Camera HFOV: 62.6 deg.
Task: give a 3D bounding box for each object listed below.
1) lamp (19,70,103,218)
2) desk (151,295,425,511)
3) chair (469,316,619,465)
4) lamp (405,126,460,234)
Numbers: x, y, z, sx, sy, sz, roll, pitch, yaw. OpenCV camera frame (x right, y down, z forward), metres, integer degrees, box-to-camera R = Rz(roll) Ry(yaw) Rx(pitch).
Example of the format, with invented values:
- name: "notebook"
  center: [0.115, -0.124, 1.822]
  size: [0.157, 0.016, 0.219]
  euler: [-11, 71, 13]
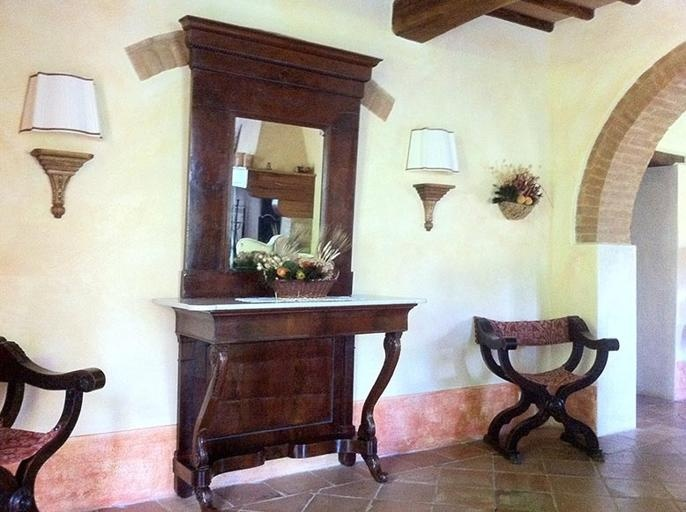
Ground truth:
- name: "lamp"
  center: [-1.770, -0.701, 3.566]
  size: [0.476, 0.921, 0.220]
  euler: [-2, 5, -29]
- name: "desk"
  center: [-0.465, 1.064, 4.018]
  size: [1.532, 1.082, 0.613]
  euler: [1, -2, -37]
- name: "chair"
  center: [1.733, 1.112, 4.957]
  size: [1.121, 1.116, 0.805]
  euler: [0, 4, -8]
- name: "lamp"
  center: [0.757, -0.631, 4.754]
  size: [0.480, 0.853, 0.370]
  euler: [0, 5, -13]
